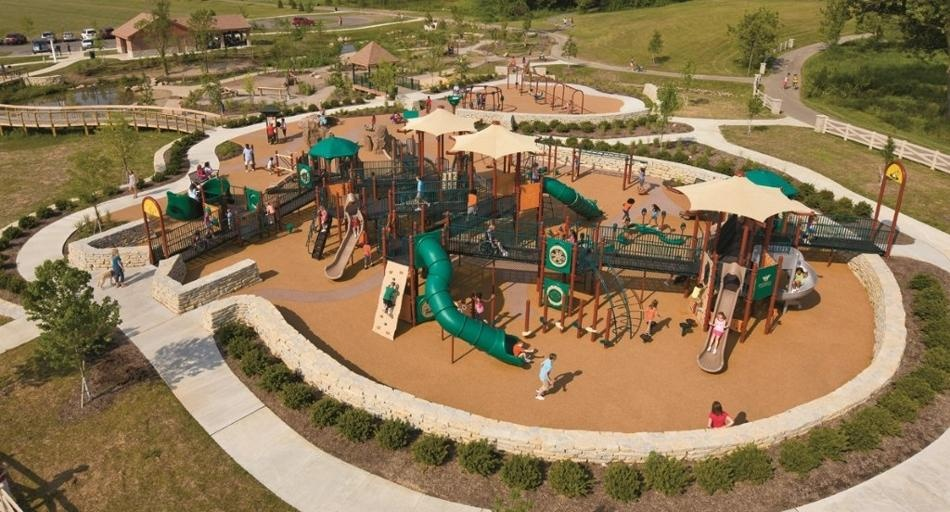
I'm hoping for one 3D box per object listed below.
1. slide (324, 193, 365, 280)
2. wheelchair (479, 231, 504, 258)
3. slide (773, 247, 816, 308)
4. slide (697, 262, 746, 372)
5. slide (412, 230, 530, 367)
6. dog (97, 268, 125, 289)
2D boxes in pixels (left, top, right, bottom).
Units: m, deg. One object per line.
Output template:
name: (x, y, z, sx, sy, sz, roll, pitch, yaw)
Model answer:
slide: (-9.136, -1.331, 46.364, 1.596, 4.776, 4.147, 12, 36, 23)
wheelchair: (1.218, -0.759, 44.166, 1.904, 1.353, 1.280, 6, 22, -3)
slide: (21.239, 1.585, 43.802, 2.580, 2.335, 4.110, 1, 52, 19)
slide: (15.056, 4.058, 41.507, 2.055, 2.418, 8.621, 4, 59, 32)
slide: (-0.936, 2.824, 41.574, 3.539, 6.515, 7.865, -23, 37, -27)
dog: (-25.415, 1.609, 45.582, 1.876, 1.001, 0.912, -1, 33, 3)
